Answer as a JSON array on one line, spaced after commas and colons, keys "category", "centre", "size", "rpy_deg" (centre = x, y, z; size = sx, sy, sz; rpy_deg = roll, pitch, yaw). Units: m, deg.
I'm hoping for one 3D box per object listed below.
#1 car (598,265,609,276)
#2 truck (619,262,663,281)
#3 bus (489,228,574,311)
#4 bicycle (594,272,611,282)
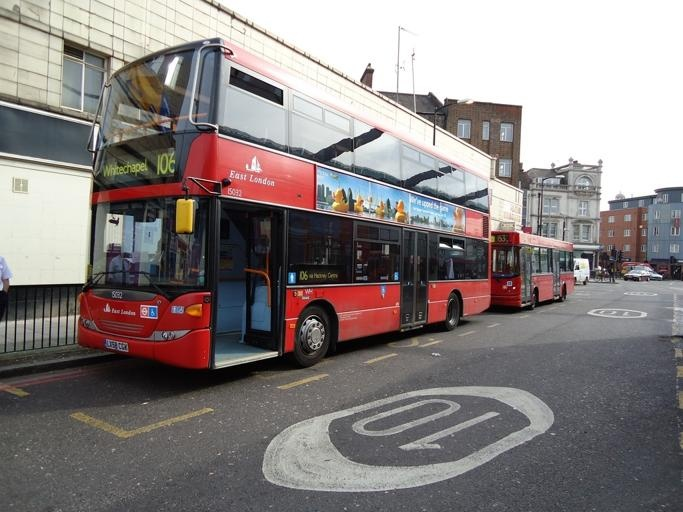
[{"category": "car", "centre": [36.979, 2.047, 76.522], "size": [1.099, 1.425, 4.641], "rpy_deg": [2, 6, 24]}, {"category": "truck", "centre": [39.309, 2.492, 71.094], "size": [3.025, 1.695, 7.000], "rpy_deg": [7, 8, 40]}, {"category": "bus", "centre": [8.124, 0.737, 24.542], "size": [2.434, 3.469, 7.867], "rpy_deg": [-3, -4, 35]}, {"category": "bicycle", "centre": [32.001, 2.603, 66.623], "size": [0.884, 1.385, 2.058], "rpy_deg": [-3, -5, 33]}]
